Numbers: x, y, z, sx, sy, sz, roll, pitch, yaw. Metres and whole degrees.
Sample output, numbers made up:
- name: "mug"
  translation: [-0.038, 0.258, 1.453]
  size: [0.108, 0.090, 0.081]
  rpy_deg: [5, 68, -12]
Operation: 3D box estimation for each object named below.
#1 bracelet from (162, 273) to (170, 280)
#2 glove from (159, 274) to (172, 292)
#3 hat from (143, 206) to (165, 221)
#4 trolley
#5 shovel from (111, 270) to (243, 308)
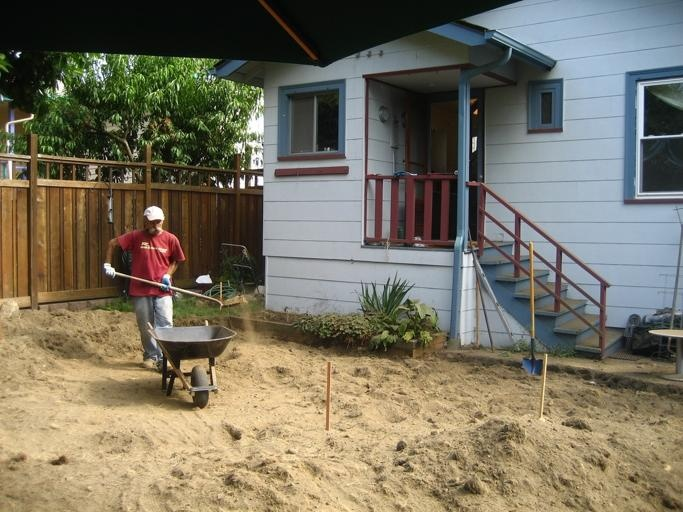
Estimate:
- name: "bracelet"
  translation: [-2.475, 0.286, 9.772]
  size: [0.075, 0.084, 0.080]
  rpy_deg: [-3, -10, 15]
- name: "glove"
  translation: [-2.455, 0.371, 9.720]
  size: [0.081, 0.240, 0.171]
  rpy_deg: [6, -10, -10]
- name: "hat"
  translation: [-2.677, -0.603, 9.875]
  size: [0.227, 0.144, 0.347]
  rpy_deg: [-3, 11, -22]
- name: "trolley"
  translation: [-1.903, 1.334, 8.849]
  size: [0.995, 0.975, 1.062]
  rpy_deg: [-3, 11, -16]
- name: "shovel"
  translation: [-2.819, 0.581, 11.827]
  size: [1.464, 0.331, 0.256]
  rpy_deg: [19, 2, -26]
